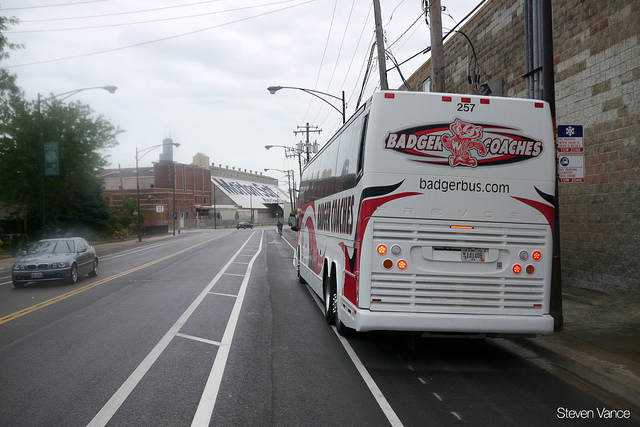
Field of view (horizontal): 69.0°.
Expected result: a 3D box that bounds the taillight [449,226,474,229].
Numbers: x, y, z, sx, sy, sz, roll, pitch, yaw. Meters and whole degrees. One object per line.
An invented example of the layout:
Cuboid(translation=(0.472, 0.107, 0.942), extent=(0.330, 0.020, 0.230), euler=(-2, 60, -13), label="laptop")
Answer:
Cuboid(translation=(2.611, 0.258, 8.633), extent=(0.420, 0.047, 0.048), euler=(0, 1, 4), label="taillight")

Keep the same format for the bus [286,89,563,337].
Cuboid(translation=(1.965, 0.290, 9.765), extent=(5.247, 5.198, 3.229), euler=(0, 1, 25), label="bus")

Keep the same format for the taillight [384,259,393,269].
Cuboid(translation=(1.242, 0.934, 8.584), extent=(0.136, 0.161, 0.032), euler=(0, 1, 9), label="taillight")

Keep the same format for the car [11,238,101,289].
Cuboid(translation=(-10.843, 1.985, 19.158), extent=(2.162, 1.816, 2.803), euler=(0, 1, -1), label="car")
